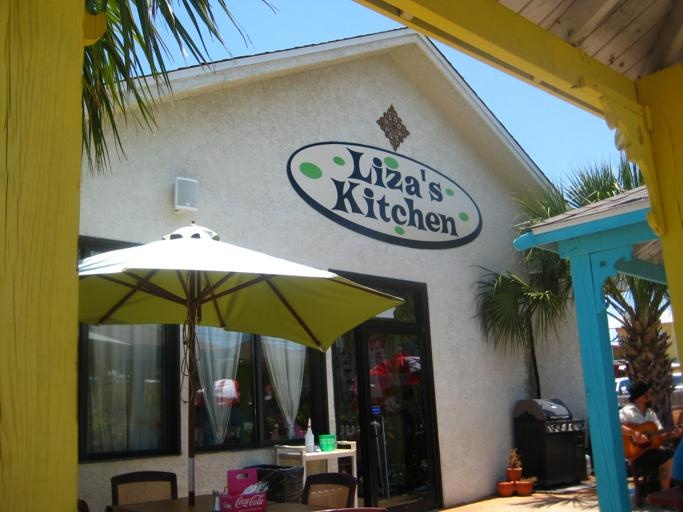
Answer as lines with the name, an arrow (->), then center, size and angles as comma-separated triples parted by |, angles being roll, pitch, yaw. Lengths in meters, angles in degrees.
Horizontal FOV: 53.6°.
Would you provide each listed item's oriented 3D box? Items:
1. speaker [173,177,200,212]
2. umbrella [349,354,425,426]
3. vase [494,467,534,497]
speaker -> -1.473, -0.643, 6.504 | 0.215, 0.175, 0.308 | 9, -60, -1
umbrella -> 0.576, 1.506, 8.224 | 0.682, 0.972, 0.458 | 3, -5, -31
vase -> 2.237, 2.901, 8.590 | 0.421, 0.180, 0.297 | -1, -5, -44
